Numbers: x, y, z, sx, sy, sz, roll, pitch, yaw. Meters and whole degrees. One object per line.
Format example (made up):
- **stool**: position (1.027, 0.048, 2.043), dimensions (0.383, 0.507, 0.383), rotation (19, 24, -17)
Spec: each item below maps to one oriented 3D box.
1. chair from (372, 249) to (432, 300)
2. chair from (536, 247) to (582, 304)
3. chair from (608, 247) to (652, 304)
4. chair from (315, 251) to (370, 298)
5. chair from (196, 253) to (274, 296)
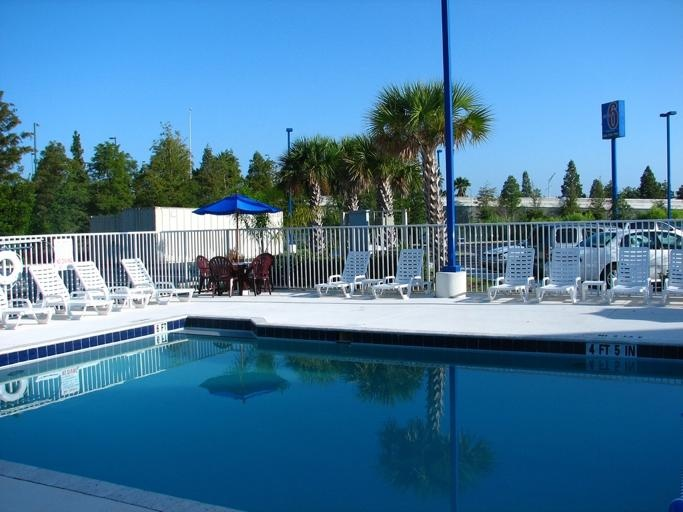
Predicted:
- **chair**: position (1.461, 0.458, 17.286), dimensions (1.225, 1.246, 1.922), rotation (0, 9, 6)
- **chair**: position (4.982, 0.451, 15.556), dimensions (0.878, 1.289, 1.613), rotation (2, 9, 20)
- **chair**: position (6.345, 0.445, 14.915), dimensions (0.830, 1.269, 1.813), rotation (2, 9, 25)
- **chair**: position (0.048, 0.470, 17.883), dimensions (0.842, 1.262, 1.548), rotation (2, 2, 35)
- **chair**: position (-2.858, 0.498, 18.356), dimensions (1.294, 0.825, 1.449), rotation (-1, 3, -9)
